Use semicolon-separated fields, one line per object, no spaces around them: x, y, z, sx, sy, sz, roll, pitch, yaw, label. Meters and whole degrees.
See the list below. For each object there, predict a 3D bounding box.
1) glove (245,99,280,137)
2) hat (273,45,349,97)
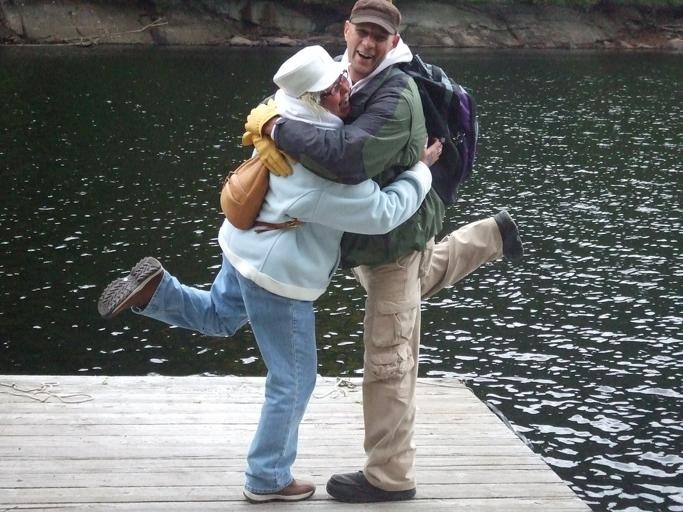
-1.417;-2.482;24.087;0.247;0.620;0.623;45;-1;-26;glove
-0.600;-3.283;23.970;1.110;0.527;0.835;-18;28;22;hat
